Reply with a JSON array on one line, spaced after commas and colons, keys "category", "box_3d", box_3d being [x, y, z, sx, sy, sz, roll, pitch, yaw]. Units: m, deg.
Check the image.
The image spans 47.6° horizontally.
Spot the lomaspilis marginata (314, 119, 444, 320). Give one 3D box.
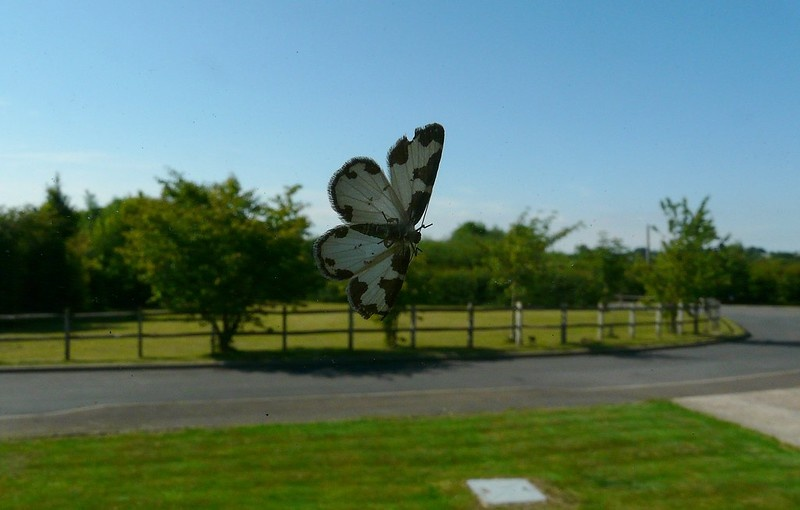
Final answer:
[{"category": "lomaspilis marginata", "box_3d": [-0.554, -0.543, 23.226, 2.825, 5.790, 1.203, 3, 31, -16]}]
